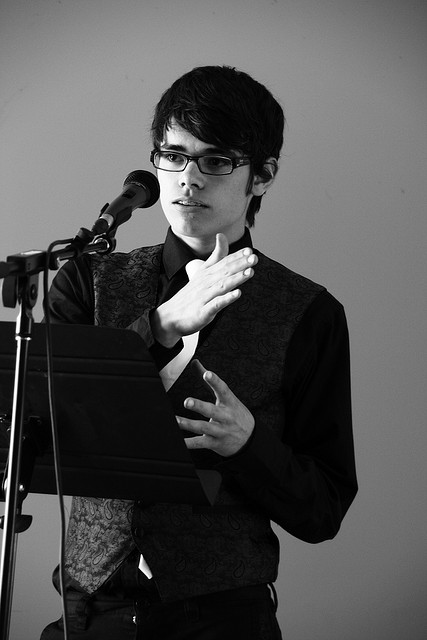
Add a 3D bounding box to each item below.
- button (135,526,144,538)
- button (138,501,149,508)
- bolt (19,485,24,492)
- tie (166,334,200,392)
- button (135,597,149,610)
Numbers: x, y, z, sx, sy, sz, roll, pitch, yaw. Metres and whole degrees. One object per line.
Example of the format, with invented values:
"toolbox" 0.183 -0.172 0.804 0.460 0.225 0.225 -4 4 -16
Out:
"button" -0.115 0.330 1.006 0.016 0.014 0.003 -2 -11 -22
"button" -0.111 0.292 1.027 0.017 0.006 0.008 11 30 -3
"bolt" -0.219 0.192 0.741 0.004 0.005 0.005 1 -15 -17
"tie" -0.048 0.060 0.971 0.030 0.079 0.059 33 3 -5
"button" -0.110 0.439 1.003 0.017 0.015 0.004 -10 -9 4
